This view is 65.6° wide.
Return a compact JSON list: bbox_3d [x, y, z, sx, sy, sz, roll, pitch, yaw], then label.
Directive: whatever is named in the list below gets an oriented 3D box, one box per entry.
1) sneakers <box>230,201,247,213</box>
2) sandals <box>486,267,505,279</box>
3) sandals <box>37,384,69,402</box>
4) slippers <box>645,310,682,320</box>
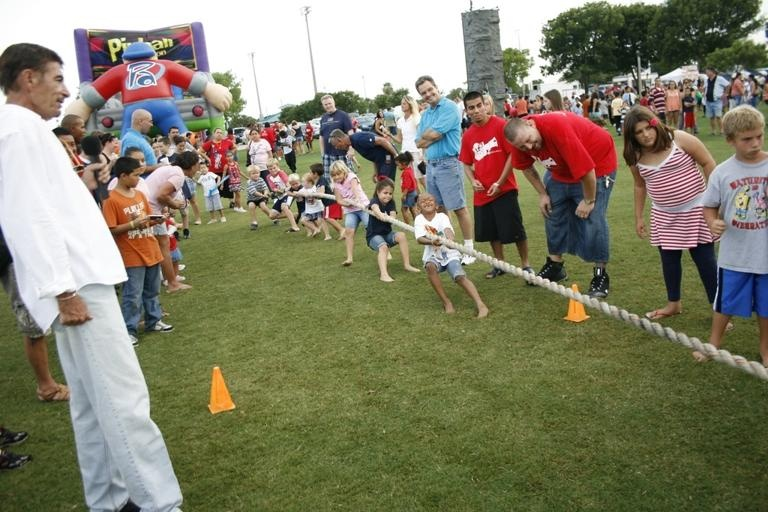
[{"bbox_3d":[-3.436,-1.157,14.313,0.205,0.275,0.621,-13,17,-38],"label":"sneakers"},{"bbox_3d":[1.363,0.221,7.147,0.280,0.076,0.096,-5,7,-20],"label":"sandals"},{"bbox_3d":[-2.968,1.236,5.398,0.269,0.101,0.151,1,24,-6],"label":"sandals"},{"bbox_3d":[2.626,0.555,5.570,0.295,0.060,0.134,-3,5,12],"label":"slippers"}]
